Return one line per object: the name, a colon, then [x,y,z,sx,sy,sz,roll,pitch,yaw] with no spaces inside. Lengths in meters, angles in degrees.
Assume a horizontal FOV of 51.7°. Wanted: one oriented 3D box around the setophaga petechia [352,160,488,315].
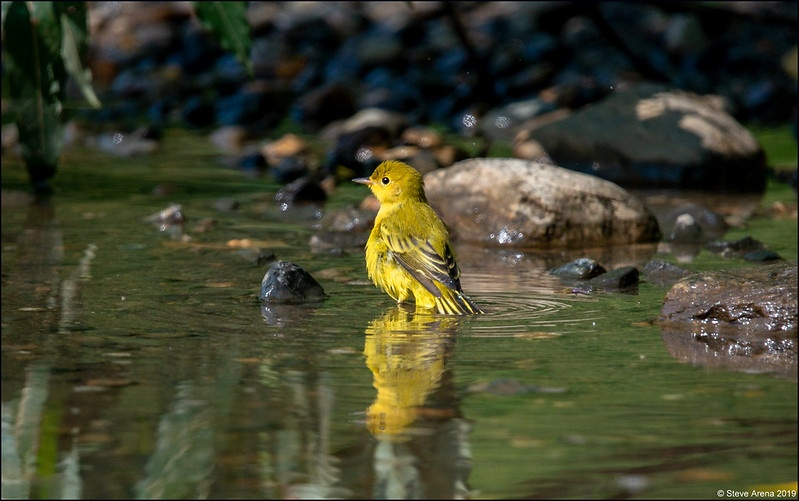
setophaga petechia: [0.091,-0.033,7.191,0.809,0.929,1.657,-12,32,-4]
